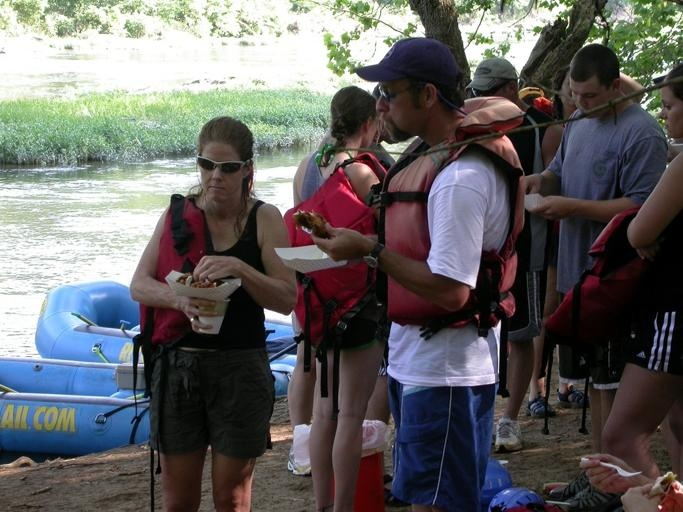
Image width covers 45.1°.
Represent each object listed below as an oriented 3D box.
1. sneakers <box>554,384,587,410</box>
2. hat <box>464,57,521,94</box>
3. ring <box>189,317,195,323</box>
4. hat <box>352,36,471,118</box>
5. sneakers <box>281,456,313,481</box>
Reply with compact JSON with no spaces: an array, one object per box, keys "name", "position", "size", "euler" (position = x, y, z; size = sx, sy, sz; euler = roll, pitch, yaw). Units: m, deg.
[{"name":"sneakers","position":[1.861,1.140,6.689],"size":[0.288,0.157,0.115],"euler":[-1,5,-5]},{"name":"hat","position":[1.121,-1.330,6.080],"size":[0.344,0.167,0.232],"euler":[-18,16,-27]},{"name":"ring","position":[-0.798,0.334,4.403],"size":[0.018,0.028,0.043],"euler":[-2,7,-34]},{"name":"hat","position":[0.370,-0.925,4.227],"size":[0.518,0.268,0.316],"euler":[20,12,-2]},{"name":"sneakers","position":[-0.317,1.542,6.046],"size":[0.127,0.131,0.322],"euler":[2,1,-12]}]
